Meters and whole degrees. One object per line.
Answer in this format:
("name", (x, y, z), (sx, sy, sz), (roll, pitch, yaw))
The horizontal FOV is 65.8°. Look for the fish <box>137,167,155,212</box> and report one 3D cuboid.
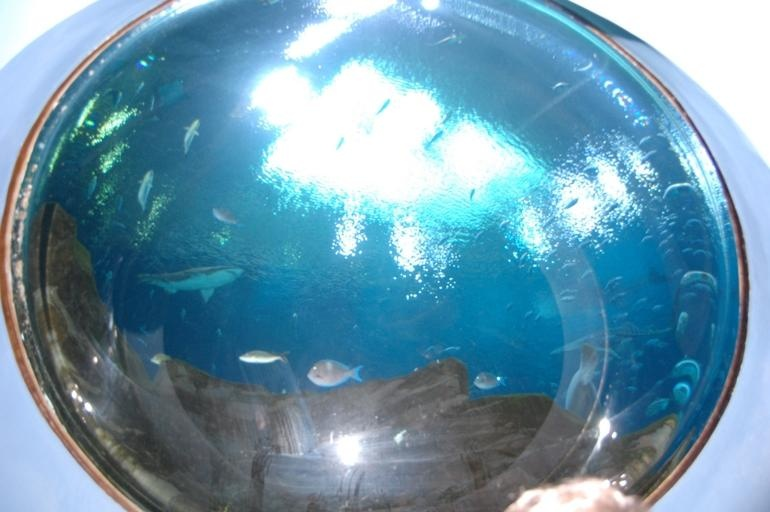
("fish", (-2.183, -0.611, 5.513), (0.115, 0.149, 0.376), (13, 80, 1))
